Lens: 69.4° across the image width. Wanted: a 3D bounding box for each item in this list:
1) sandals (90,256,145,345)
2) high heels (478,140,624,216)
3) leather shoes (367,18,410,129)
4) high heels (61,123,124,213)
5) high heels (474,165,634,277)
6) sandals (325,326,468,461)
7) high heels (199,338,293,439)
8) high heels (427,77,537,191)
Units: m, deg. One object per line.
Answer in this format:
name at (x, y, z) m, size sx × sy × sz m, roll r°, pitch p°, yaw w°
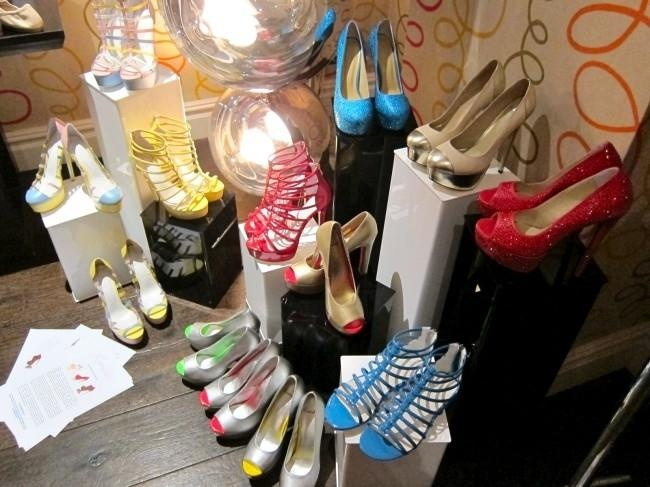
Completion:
sandals at (-0.856, 0.241, 1.926) m, size 0.092 × 0.107 × 0.310 m, roll -24°, pitch 74°, yaw -24°
high heels at (0.624, -0.176, 1.404) m, size 0.430 × 0.178 × 0.152 m, roll -15°, pitch 43°, yaw 29°
leather shoes at (0.248, -0.637, 1.819) m, size 0.131 × 0.179 × 0.477 m, roll -8°, pitch 80°, yaw -4°
high heels at (-0.952, -0.300, 1.927) m, size 0.115 × 0.157 × 0.416 m, roll -31°, pitch 91°, yaw -20°
high heels at (0.616, -0.050, 1.369) m, size 0.429 × 0.218 × 0.206 m, roll -22°, pitch 48°, yaw 19°
sandals at (0.229, 0.487, 1.421) m, size 0.415 × 0.143 × 0.298 m, roll -36°, pitch 56°, yaw -10°
high heels at (-0.249, 0.540, 1.693) m, size 0.354 × 0.154 × 0.189 m, roll -38°, pitch 64°, yaw -8°
high heels at (0.505, -0.329, 1.464) m, size 0.374 × 0.150 × 0.137 m, roll -49°, pitch 49°, yaw 5°
